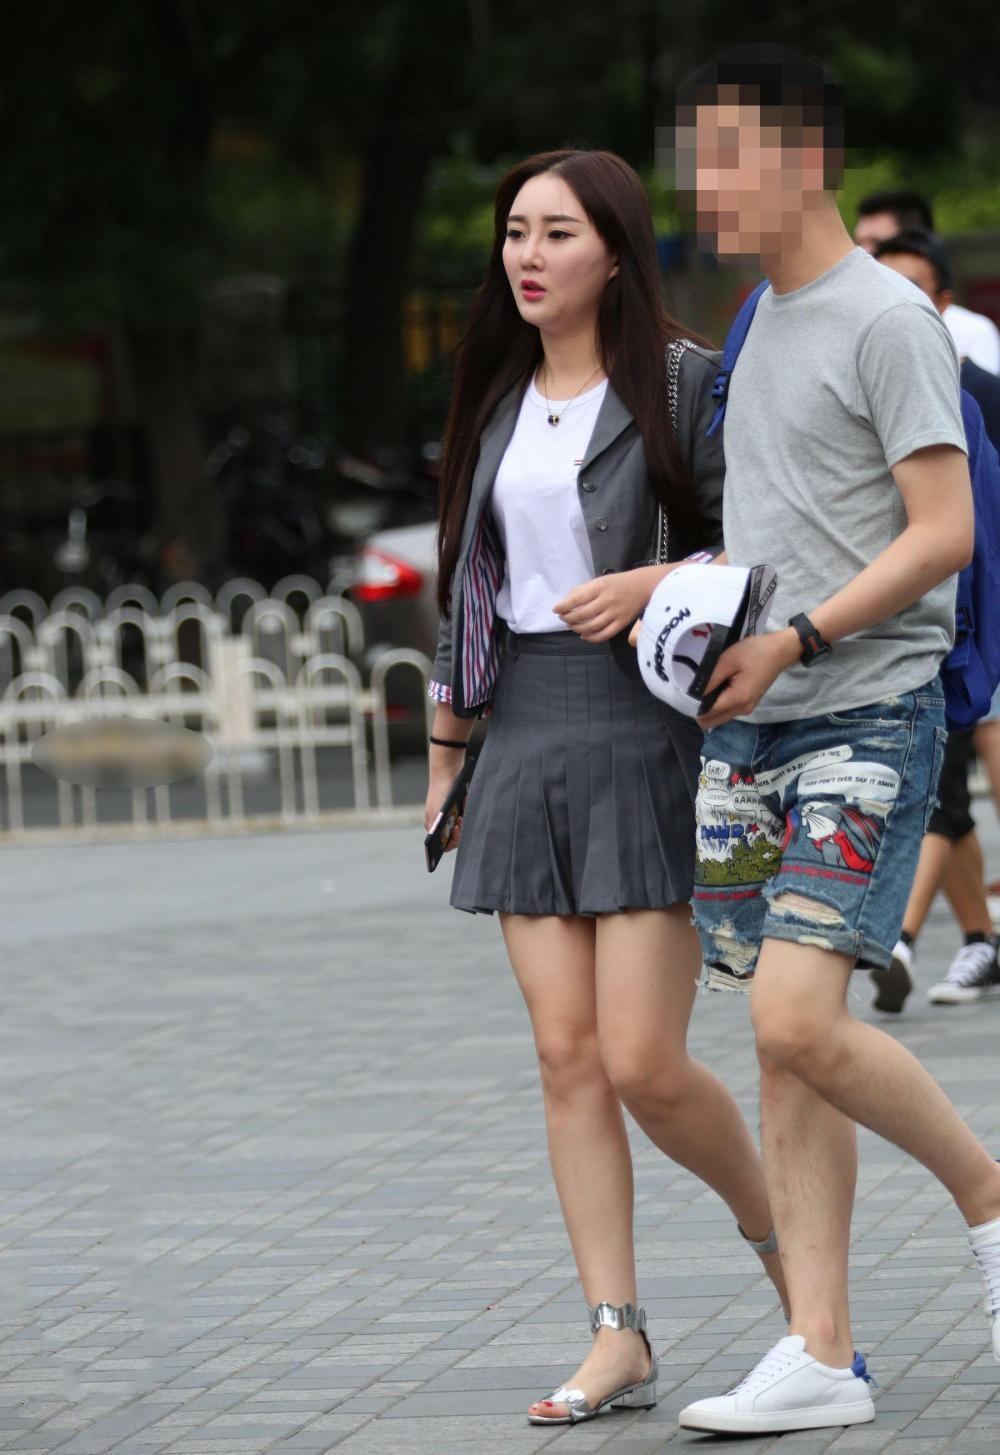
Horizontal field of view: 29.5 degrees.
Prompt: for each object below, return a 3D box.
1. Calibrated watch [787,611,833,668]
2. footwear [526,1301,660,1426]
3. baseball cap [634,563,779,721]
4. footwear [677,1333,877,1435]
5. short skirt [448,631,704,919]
[{"bbox_3d":[0.368,-0.107,2.275,0.037,0.049,0.057,-31,-16,2],"label":"Calibrated watch"},{"bbox_3d":[0.127,0.866,2.603,0.245,0.162,0.104,1,-2,-29],"label":"footwear"},{"bbox_3d":[0.249,-0.108,2.301,0.171,0.187,0.123,-4,2,3],"label":"baseball cap"},{"bbox_3d":[0.358,0.844,2.450,0.318,0.121,0.096,0,-5,-12],"label":"footwear"},{"bbox_3d":[0.119,0.069,2.683,0.461,0.422,0.290,-1,-9,14],"label":"short skirt"}]
